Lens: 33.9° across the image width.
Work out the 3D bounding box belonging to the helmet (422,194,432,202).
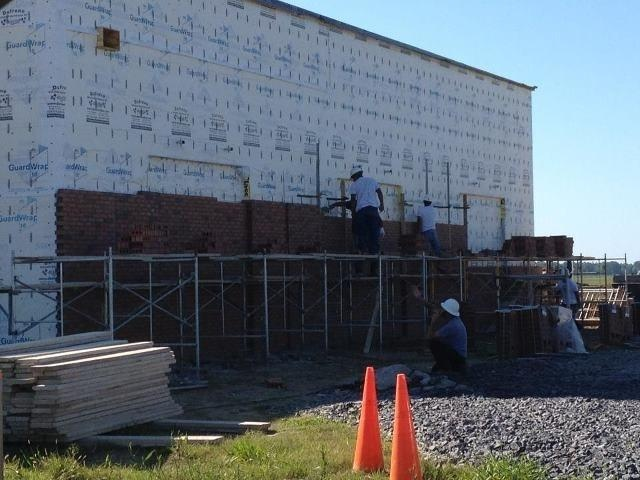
[{"bbox_3d":[3.278,-1.209,31.622,0.214,0.245,0.180,-10,11,-17],"label":"helmet"}]
